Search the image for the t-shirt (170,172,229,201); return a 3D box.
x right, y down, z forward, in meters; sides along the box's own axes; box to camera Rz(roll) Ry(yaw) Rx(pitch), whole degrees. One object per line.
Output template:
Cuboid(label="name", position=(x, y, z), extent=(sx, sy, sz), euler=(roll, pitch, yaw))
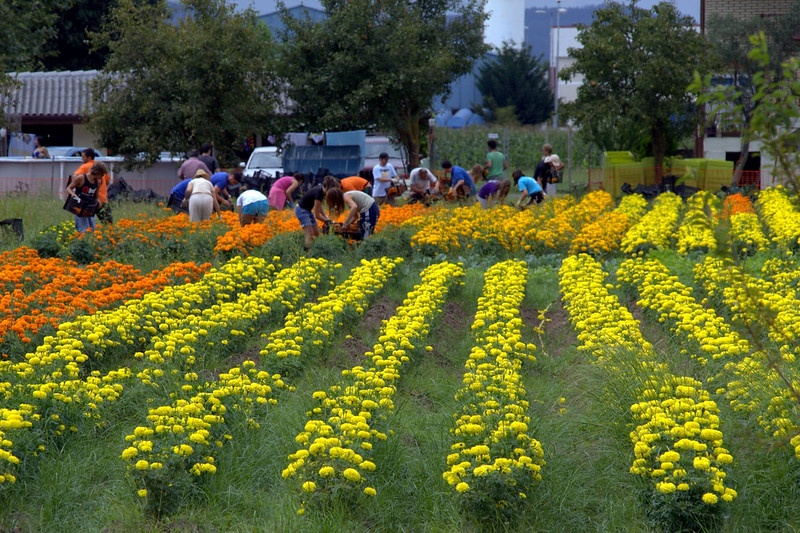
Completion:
Cuboid(label="t-shirt", position=(-3.732, -1.662, 17.665), extent=(0.920, 0.355, 0.586), euler=(-24, 26, -38))

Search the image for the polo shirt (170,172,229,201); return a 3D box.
Cuboid(label="polo shirt", position=(-3.726, -1.537, 17.727), extent=(0.920, 0.355, 0.586), euler=(-24, 26, -38))

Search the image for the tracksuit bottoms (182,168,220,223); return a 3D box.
Cuboid(label="tracksuit bottoms", position=(-3.510, -1.013, 16.314), extent=(0.538, 1.437, 0.502), euler=(4, -18, -18))

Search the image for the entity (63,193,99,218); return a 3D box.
Cuboid(label="entity", position=(-5.452, -1.031, 15.919), extent=(0.400, 0.281, 0.408), euler=(20, 8, -9))

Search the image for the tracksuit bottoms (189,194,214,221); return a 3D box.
Cuboid(label="tracksuit bottoms", position=(-3.487, -1.037, 16.214), extent=(0.461, 0.453, 0.715), euler=(-2, -29, -14))

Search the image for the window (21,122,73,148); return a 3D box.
Cuboid(label="window", position=(-13.287, -4.976, 34.762), extent=(1.483, 1.673, 0.868), euler=(0, 10, -13))

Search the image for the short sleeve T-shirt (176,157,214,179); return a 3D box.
Cuboid(label="short sleeve T-shirt", position=(-4.065, -1.907, 18.098), extent=(0.642, 0.587, 0.415), euler=(1, 16, 0))
